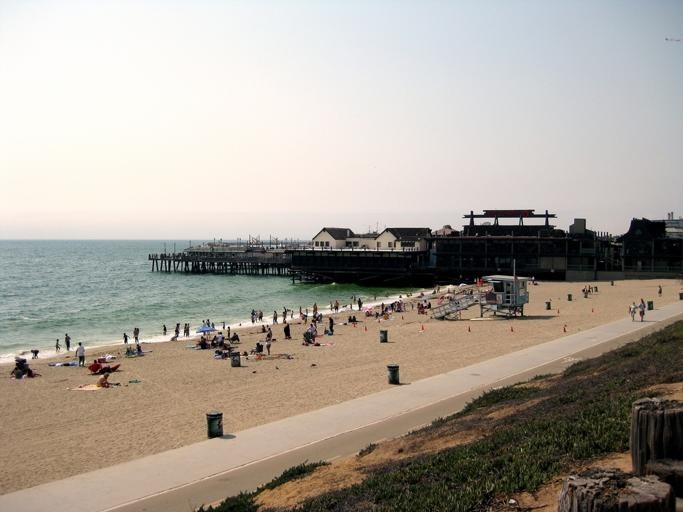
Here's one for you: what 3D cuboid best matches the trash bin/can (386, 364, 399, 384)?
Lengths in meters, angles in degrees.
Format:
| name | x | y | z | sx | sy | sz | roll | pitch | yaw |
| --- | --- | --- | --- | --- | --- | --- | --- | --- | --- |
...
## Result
| name | x | y | z | sx | sy | sz | roll | pitch | yaw |
| --- | --- | --- | --- | --- | --- | --- | --- | --- | --- |
| trash bin/can | 2.678 | 6.148 | 38.209 | 0.668 | 0.958 | 0.637 | -4 | 0 | 16 |

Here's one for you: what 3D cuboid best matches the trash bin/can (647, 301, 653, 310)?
| name | x | y | z | sx | sy | sz | roll | pitch | yaw |
| --- | --- | --- | --- | --- | --- | --- | --- | --- | --- |
| trash bin/can | 24.634 | 3.947 | 58.968 | 0.291 | 0.501 | 0.562 | -2 | 1 | 18 |

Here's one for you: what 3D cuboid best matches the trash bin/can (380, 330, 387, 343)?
| name | x | y | z | sx | sy | sz | roll | pitch | yaw |
| --- | --- | --- | --- | --- | --- | --- | --- | --- | --- |
| trash bin/can | 3.131 | 5.565 | 51.104 | 0.782 | 0.791 | 0.750 | -1 | -2 | -7 |

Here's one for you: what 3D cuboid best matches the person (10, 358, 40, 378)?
| name | x | y | z | sx | sy | sz | roll | pitch | yaw |
| --- | --- | --- | --- | --- | --- | --- | --- | --- | --- |
| person | -19.561 | 6.950 | 45.652 | 1.199 | 0.663 | 1.577 | 4 | -8 | 7 |

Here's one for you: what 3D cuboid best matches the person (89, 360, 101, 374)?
| name | x | y | z | sx | sy | sz | roll | pitch | yaw |
| --- | --- | --- | --- | --- | --- | --- | --- | --- | --- |
| person | -15.178 | 6.810 | 45.291 | 0.775 | 0.777 | 0.856 | 1 | -2 | -4 |

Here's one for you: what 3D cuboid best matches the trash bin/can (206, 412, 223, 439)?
| name | x | y | z | sx | sy | sz | roll | pitch | yaw |
| --- | --- | --- | --- | --- | --- | --- | --- | --- | --- |
| trash bin/can | -5.435 | 7.202 | 31.599 | 0.649 | 1.141 | 0.710 | -4 | 0 | -13 |

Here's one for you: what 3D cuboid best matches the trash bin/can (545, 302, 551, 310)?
| name | x | y | z | sx | sy | sz | roll | pitch | yaw |
| --- | --- | --- | --- | --- | --- | --- | --- | --- | --- |
| trash bin/can | 18.264 | 4.439 | 65.328 | 0.466 | 0.705 | 0.629 | -4 | 5 | -35 |

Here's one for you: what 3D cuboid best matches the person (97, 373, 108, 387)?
| name | x | y | z | sx | sy | sz | roll | pitch | yaw |
| --- | --- | --- | --- | --- | --- | --- | --- | --- | --- |
| person | -13.326 | 6.970 | 41.083 | 0.539 | 0.781 | 0.989 | -4 | 0 | -18 |
